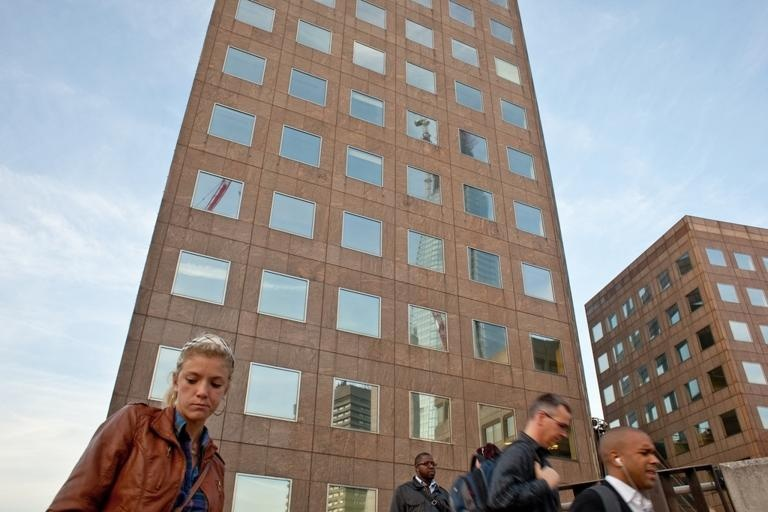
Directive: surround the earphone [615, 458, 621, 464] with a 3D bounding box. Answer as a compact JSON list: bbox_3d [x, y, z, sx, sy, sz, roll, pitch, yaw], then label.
[{"bbox_3d":[2.272,2.000,4.427,0.037,0.049,0.042,22,-2,21],"label":"earphone"}]
